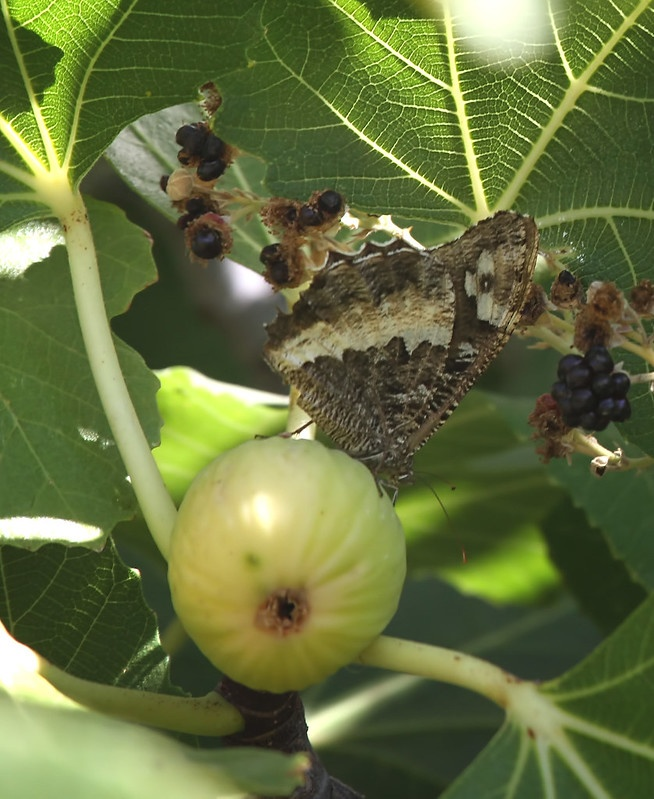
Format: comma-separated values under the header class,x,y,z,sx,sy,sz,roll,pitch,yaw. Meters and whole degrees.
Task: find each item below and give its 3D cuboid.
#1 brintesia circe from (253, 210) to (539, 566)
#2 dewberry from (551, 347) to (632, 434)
class,x,y,z,sx,sy,sz,roll,pitch,yaw
brintesia circe,0.247,0.004,1.264,0.242,0.442,0.527,45,9,20
dewberry,0.353,-0.014,1.287,0.110,0.108,0.086,-1,12,-4
